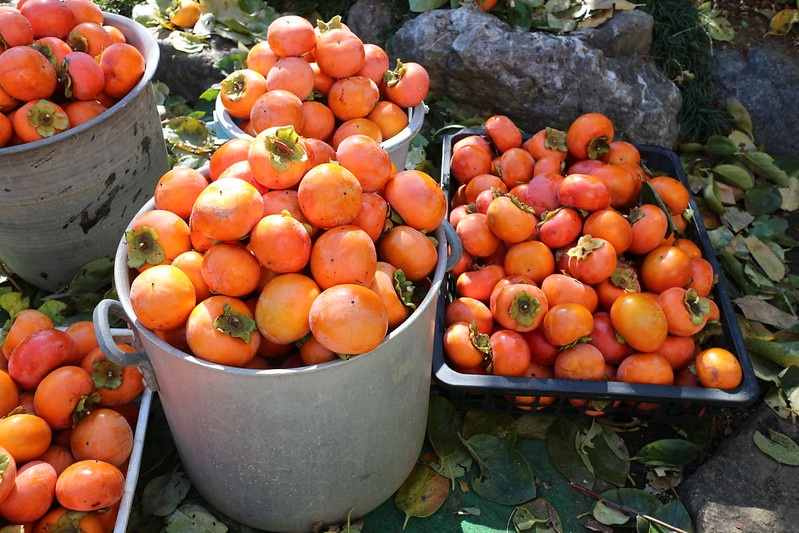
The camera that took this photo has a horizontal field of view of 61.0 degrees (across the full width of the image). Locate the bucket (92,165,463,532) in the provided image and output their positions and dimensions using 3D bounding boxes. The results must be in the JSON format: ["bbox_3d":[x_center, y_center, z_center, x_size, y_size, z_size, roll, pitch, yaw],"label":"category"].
[{"bbox_3d":[-0.599,0.647,3.316,1.372,1.156,1.649,29,49,31],"label":"bucket"}]
